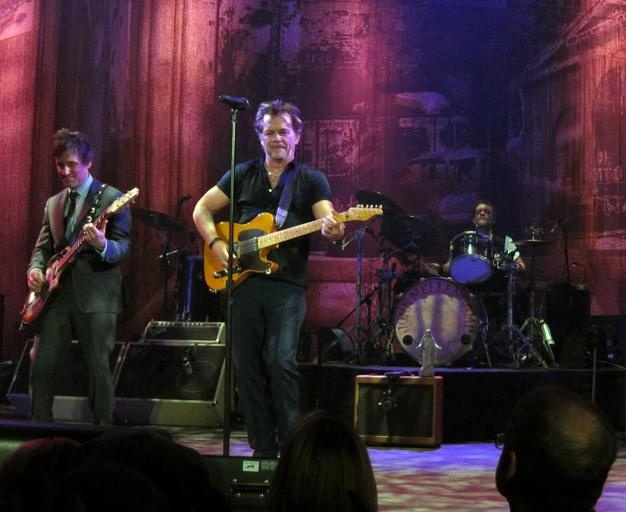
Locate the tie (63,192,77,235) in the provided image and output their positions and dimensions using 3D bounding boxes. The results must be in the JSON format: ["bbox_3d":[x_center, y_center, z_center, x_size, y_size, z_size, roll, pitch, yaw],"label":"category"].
[{"bbox_3d":[-1.426,-0.253,4.126,0.108,0.245,0.037,-5,-16,19],"label":"tie"}]

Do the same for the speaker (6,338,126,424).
[{"bbox_3d":[-1.833,0.980,5.229,0.773,0.849,0.244,-4,-13,27],"label":"speaker"}]

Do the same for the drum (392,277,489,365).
[{"bbox_3d":[1.021,0.504,5.722,0.612,0.717,0.689,2,15,15],"label":"drum"}]

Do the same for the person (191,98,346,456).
[{"bbox_3d":[-0.211,0.080,3.614,0.547,1.908,0.739,7,-7,-35],"label":"person"}]

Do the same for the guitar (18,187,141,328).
[{"bbox_3d":[-1.379,0.004,4.029,0.737,0.898,0.346,0,-6,30],"label":"guitar"}]

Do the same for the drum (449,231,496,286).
[{"bbox_3d":[1.352,-0.006,6.280,0.408,0.442,0.437,-2,-2,-13],"label":"drum"}]

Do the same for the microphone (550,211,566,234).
[{"bbox_3d":[2.482,-0.364,7.076,0.147,0.249,0.250,1,-6,21],"label":"microphone"}]

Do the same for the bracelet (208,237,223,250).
[{"bbox_3d":[-0.529,-0.066,3.721,0.065,0.020,0.069,-23,21,49],"label":"bracelet"}]

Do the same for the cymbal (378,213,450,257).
[{"bbox_3d":[0.909,-0.192,6.294,0.591,0.326,0.580,2,-6,7],"label":"cymbal"}]

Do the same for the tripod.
[{"bbox_3d":[1.700,0.824,5.990,0.369,0.494,0.362,8,-12,-38],"label":"tripod"}]
